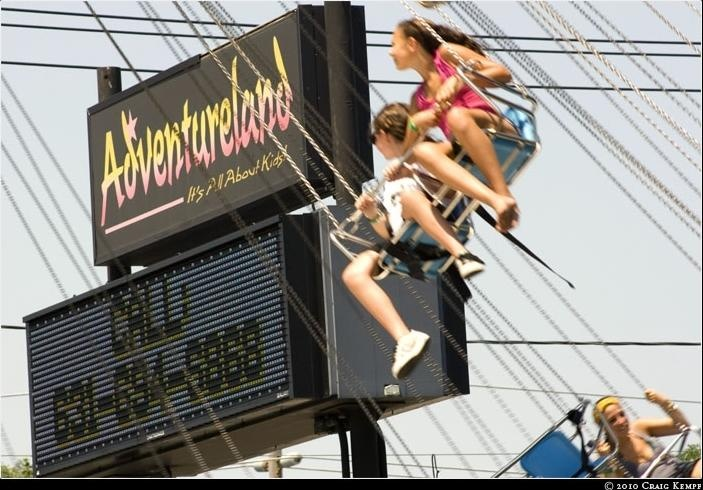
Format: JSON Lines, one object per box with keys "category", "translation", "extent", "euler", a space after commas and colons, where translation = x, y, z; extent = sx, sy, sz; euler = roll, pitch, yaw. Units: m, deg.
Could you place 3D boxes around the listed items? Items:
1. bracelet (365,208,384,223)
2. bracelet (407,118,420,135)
{"category": "bracelet", "translation": [0.263, -0.336, 22.722], "extent": [0.180, 0.162, 0.140], "euler": [-3, -76, 4]}
{"category": "bracelet", "translation": [0.727, -1.402, 22.546], "extent": [0.148, 0.129, 0.196], "euler": [14, -19, 17]}
